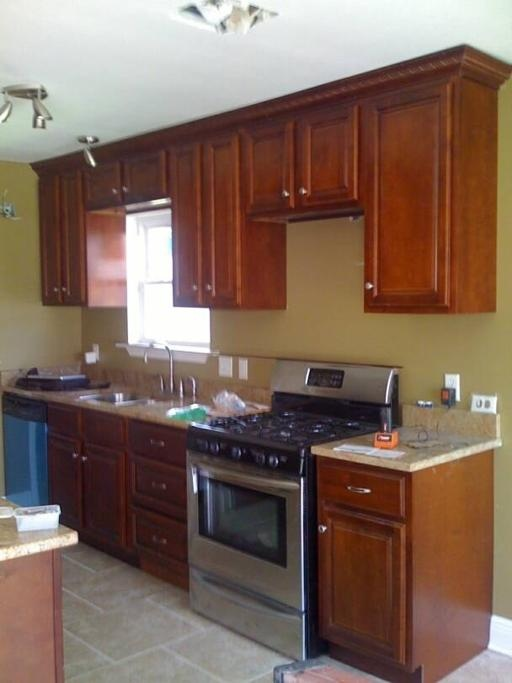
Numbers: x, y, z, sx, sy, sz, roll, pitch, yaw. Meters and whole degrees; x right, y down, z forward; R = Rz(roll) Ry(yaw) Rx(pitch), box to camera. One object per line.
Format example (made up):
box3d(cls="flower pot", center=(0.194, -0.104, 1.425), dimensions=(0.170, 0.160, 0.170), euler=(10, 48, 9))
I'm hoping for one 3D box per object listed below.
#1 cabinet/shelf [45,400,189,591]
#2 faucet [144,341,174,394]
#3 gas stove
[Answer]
box3d(cls="cabinet/shelf", center=(-0.688, 0.805, 3.170), dimensions=(0.291, 0.546, 0.902), euler=(1, 1, -43))
box3d(cls="faucet", center=(-0.605, 0.166, 3.877), dimensions=(0.171, 0.275, 0.525), euler=(-8, 3, -10))
box3d(cls="gas stove", center=(0.129, 0.436, 2.716), dimensions=(0.738, 0.178, 0.666), euler=(1, 1, 37))
